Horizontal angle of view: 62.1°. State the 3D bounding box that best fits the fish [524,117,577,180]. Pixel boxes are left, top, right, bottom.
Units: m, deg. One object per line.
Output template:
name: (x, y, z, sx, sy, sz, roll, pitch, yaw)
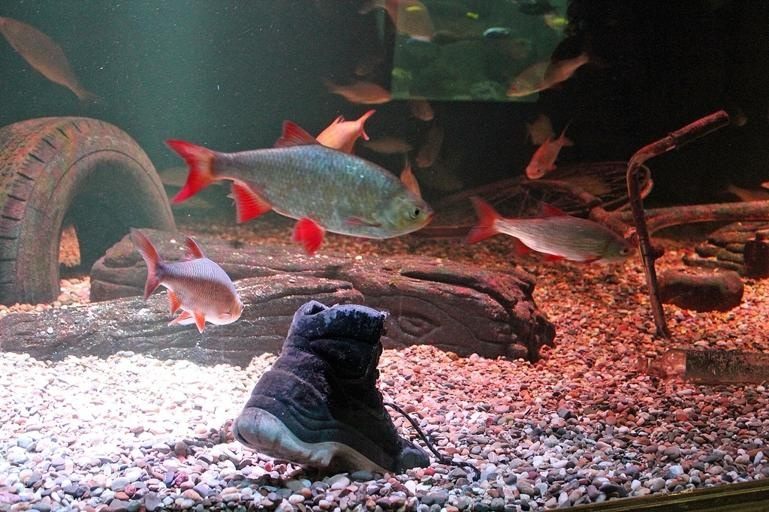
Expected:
fish: (1.169, -0.749, 4.563, 0.508, 0.245, 0.132, -46, 51, -14)
